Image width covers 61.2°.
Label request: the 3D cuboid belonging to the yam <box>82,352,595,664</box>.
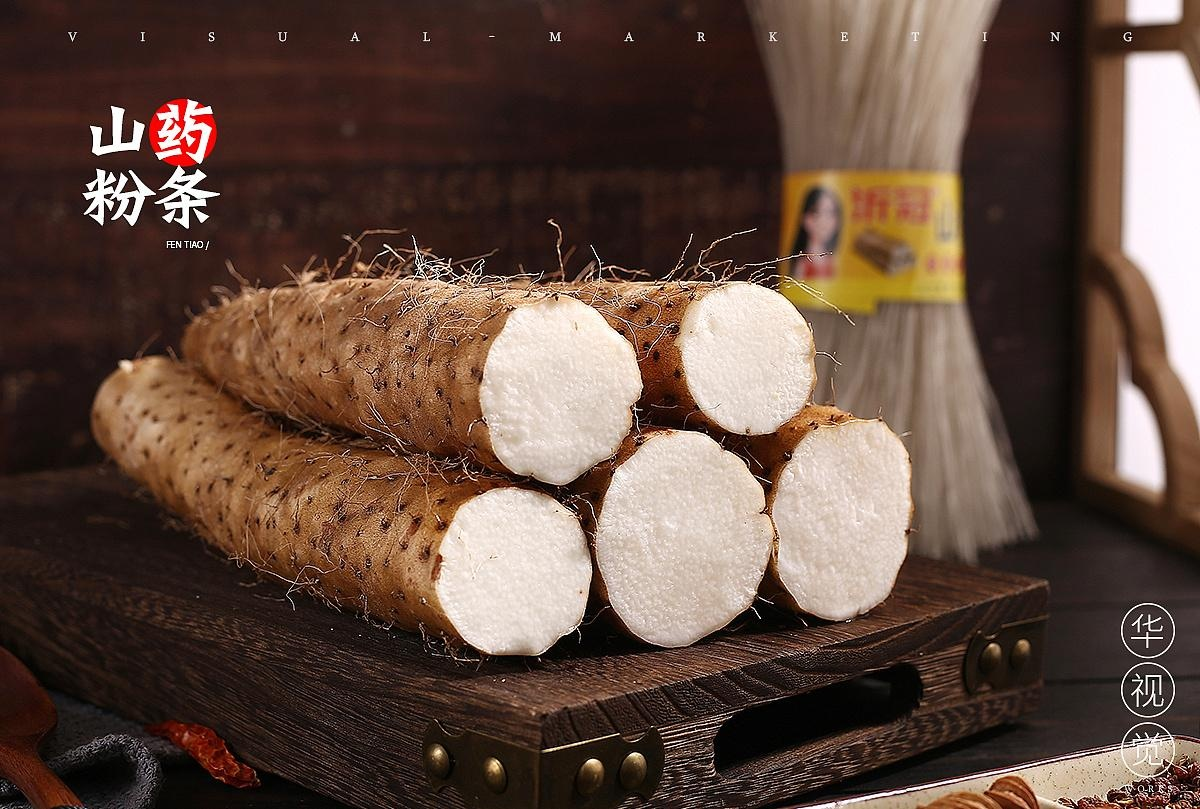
[{"bbox_3d":[-0.319,0.106,1.177,0.650,0.160,0.168,18,39,27],"label":"yam"}]

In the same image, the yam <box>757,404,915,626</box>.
[{"bbox_3d":[0.225,0.123,1.140,0.193,0.214,0.090,-30,16,-15],"label":"yam"}]

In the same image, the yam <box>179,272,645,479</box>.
[{"bbox_3d":[-0.249,-0.095,1.197,0.197,0.186,0.675,-22,23,-39],"label":"yam"}]

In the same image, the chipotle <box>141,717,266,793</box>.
[{"bbox_3d":[-0.422,0.360,1.105,0.166,0.045,0.045,21,-18,30],"label":"chipotle"}]
